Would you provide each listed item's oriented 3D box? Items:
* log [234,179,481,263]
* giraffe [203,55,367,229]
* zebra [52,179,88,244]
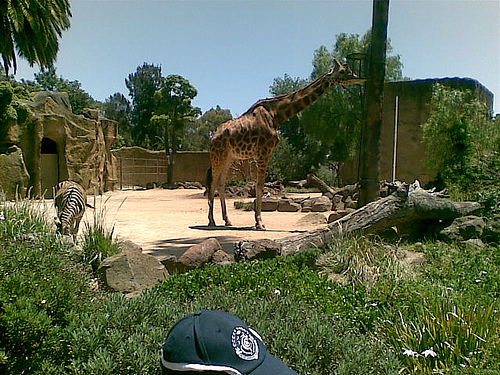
[{"bbox_3d":[2.215,0.476,8.433,5.261,1.250,0.918,-8,-9,-30],"label":"log"},{"bbox_3d":[0.477,-1.005,11.709,3.149,3.963,1.386,0,3,-5],"label":"giraffe"},{"bbox_3d":[-3.167,0.354,8.069,0.355,0.829,1.382,0,21,-20],"label":"zebra"}]
